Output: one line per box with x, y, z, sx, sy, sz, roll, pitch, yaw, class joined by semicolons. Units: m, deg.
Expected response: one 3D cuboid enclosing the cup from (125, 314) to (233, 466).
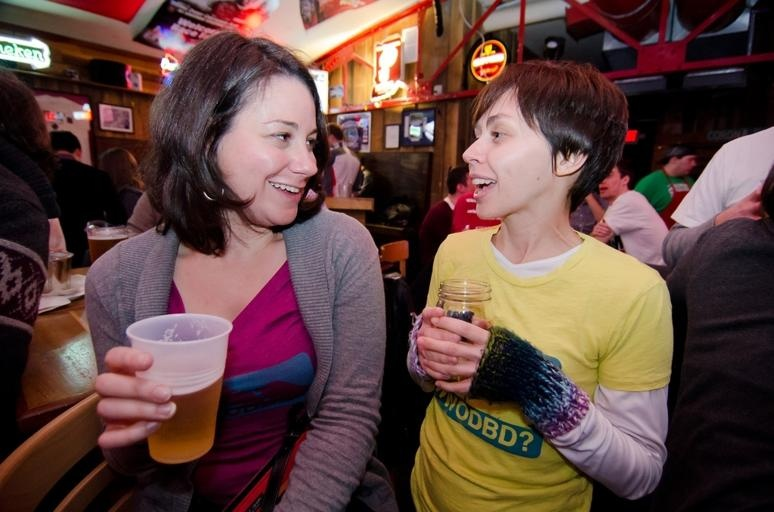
-0.655;0.422;1.548;0.304;0.452;0.167;0;16;-9;cup

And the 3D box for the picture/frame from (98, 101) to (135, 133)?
-4.223;-2.146;7.437;0.047;0.399;0.608;5;4;34;picture/frame
